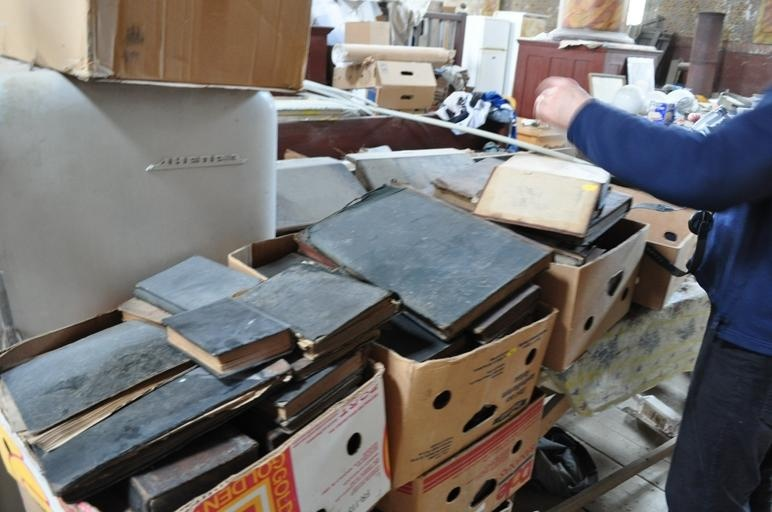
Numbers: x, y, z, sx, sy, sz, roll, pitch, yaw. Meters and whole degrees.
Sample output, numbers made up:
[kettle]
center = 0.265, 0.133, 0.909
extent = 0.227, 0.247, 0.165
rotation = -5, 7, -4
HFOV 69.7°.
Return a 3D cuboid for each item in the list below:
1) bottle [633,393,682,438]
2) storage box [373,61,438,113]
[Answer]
[bottle]
center = 1.242, 0.731, 2.561
extent = 0.146, 0.049, 0.187
rotation = -26, 40, -31
[storage box]
center = 0.123, -1.210, 3.986
extent = 0.498, 0.345, 0.283
rotation = -4, 26, -18
